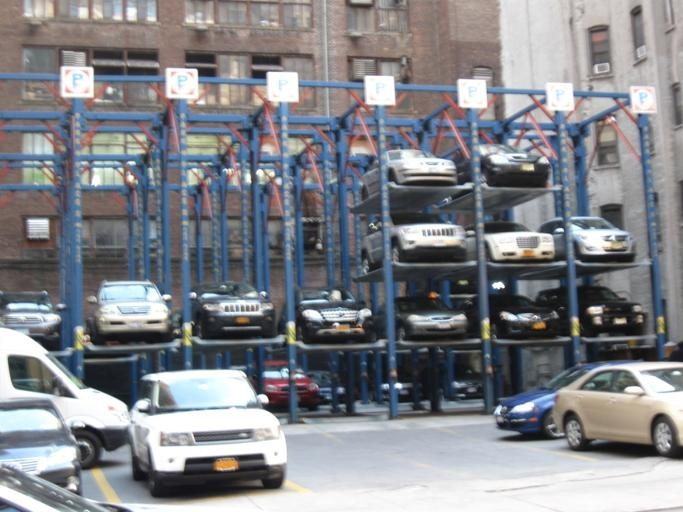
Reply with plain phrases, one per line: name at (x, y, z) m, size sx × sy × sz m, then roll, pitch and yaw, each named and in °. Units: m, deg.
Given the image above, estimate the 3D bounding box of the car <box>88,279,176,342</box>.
car at (-7.574, 1.887, 56.685) m, size 2.728 × 2.183 × 4.987 m, roll -1°, pitch 1°, yaw -12°

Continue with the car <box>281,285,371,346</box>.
car at (-0.516, 2.160, 57.131) m, size 2.608 × 2.011 × 2.000 m, roll 2°, pitch -5°, yaw -19°

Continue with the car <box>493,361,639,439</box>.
car at (7.995, 4.690, 51.829) m, size 6.785 × 2.086 × 2.746 m, roll 2°, pitch -3°, yaw -27°

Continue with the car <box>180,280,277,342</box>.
car at (-4.226, 1.881, 57.529) m, size 2.631 × 1.860 × 4.987 m, roll -1°, pitch 0°, yaw -19°
